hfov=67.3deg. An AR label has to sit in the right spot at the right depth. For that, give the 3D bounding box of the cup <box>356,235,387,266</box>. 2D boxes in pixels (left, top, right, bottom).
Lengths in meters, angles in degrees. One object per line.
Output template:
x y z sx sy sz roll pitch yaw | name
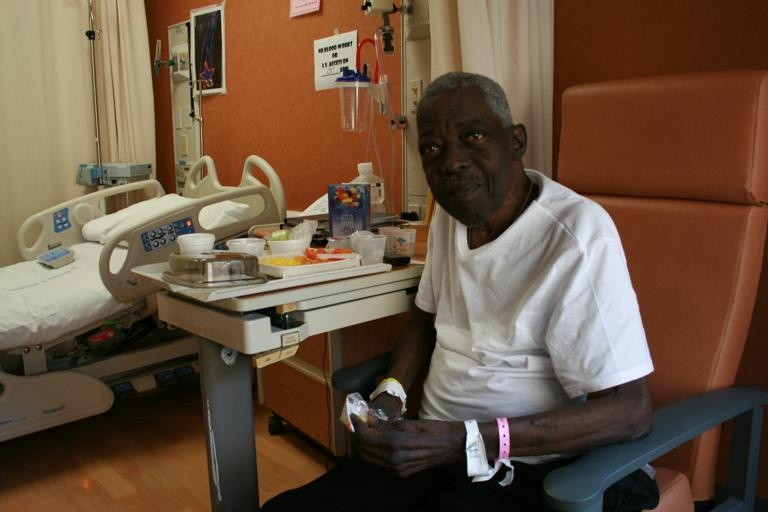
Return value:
-0.043 -0.025 2.024 0.071 0.107 0.106 -4 7 -38 | cup

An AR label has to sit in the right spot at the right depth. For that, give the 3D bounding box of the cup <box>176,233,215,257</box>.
-0.640 -0.046 1.930 0.091 0.069 0.096 -1 3 0 | cup

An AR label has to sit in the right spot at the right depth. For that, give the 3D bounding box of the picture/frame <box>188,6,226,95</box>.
-1.238 -1.470 4.077 0.045 0.675 0.611 -12 12 -42 | picture/frame

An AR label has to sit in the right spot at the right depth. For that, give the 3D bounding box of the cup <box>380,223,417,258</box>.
0.053 -0.058 2.164 0.087 0.093 0.131 2 3 41 | cup
